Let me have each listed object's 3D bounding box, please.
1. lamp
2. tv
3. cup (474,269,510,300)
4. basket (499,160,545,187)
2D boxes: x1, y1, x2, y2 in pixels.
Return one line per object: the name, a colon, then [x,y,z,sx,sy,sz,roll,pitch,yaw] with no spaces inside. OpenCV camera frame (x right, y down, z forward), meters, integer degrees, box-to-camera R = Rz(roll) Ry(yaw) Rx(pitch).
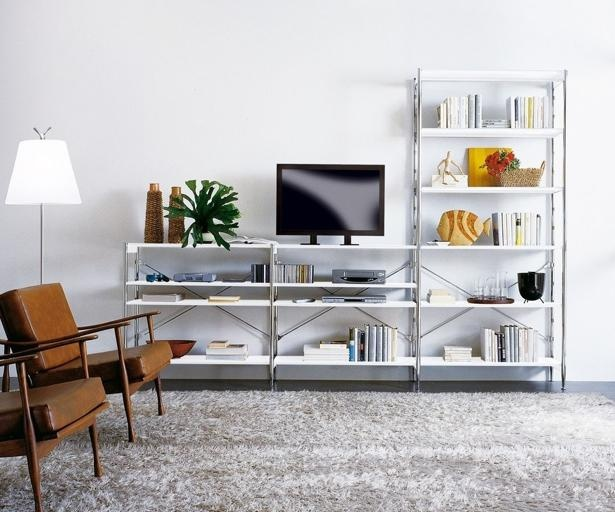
lamp: [-2.038,-0.333,5.095,0.523,1.207,0.688,-3,12,-18]
tv: [0.189,-0.433,5.221,0.766,0.494,0.096,0,-3,0]
cup: [1.517,0.230,5.336,0.257,0.220,0.123,1,5,4]
basket: [1.701,-0.645,5.181,0.289,0.135,0.205,-2,-1,12]
